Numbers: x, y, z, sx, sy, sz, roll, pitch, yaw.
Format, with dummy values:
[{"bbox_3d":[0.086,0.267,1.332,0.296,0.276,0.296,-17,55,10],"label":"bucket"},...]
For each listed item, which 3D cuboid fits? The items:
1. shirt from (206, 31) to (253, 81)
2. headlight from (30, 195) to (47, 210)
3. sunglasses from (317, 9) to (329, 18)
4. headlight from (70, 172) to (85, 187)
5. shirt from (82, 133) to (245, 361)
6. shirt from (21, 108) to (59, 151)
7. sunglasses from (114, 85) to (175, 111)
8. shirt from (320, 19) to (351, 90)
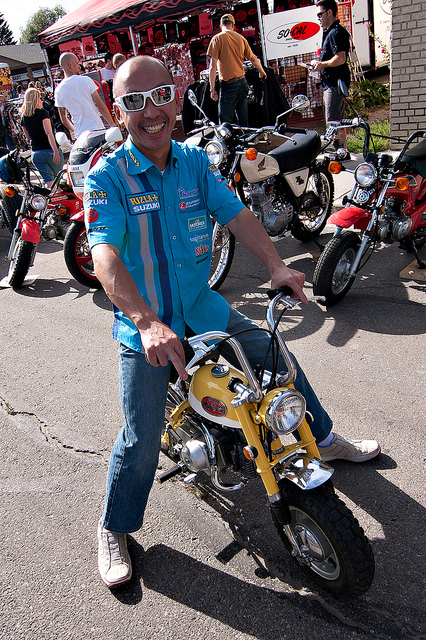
[{"bbox_3d":[0.281,-3.955,7.125,0.731,0.662,0.257,-12,20,-19],"label":"shirt"},{"bbox_3d":[-2.105,-1.423,5.717,0.188,0.174,0.059,-32,30,-32],"label":"headlight"},{"bbox_3d":[1.538,-4.326,6.719,0.105,0.064,0.313,-15,25,-2],"label":"sunglasses"},{"bbox_3d":[-1.538,-1.614,5.416,0.154,0.196,0.071,6,43,13],"label":"headlight"},{"bbox_3d":[-0.169,-0.304,1.859,0.642,0.809,0.256,-33,31,-34],"label":"shirt"},{"bbox_3d":[-2.804,-3.009,7.578,0.463,0.640,0.404,2,21,-10],"label":"shirt"},{"bbox_3d":[-0.229,-0.759,1.628,0.208,0.061,0.095,-15,25,-1],"label":"sunglasses"},{"bbox_3d":[1.746,-3.790,6.801,0.452,0.899,0.656,-6,27,18],"label":"shirt"}]
